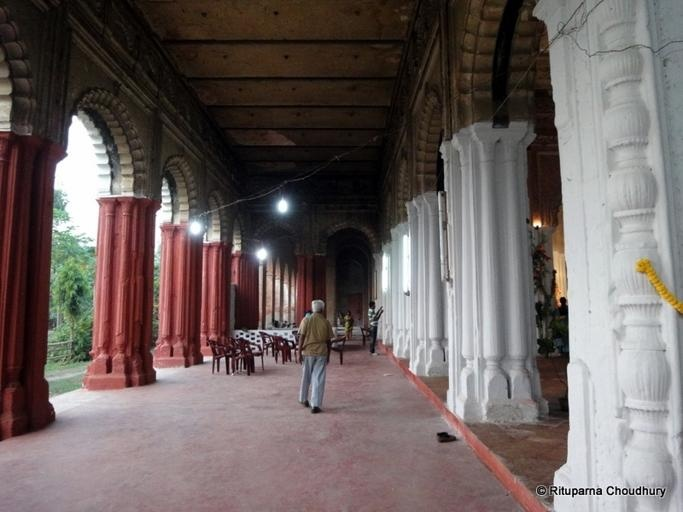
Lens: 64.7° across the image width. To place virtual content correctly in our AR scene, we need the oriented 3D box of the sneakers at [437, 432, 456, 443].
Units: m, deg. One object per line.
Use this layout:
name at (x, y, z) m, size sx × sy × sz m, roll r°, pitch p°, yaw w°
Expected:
sneakers at (1.294, 2.220, 6.622) m, size 0.245 × 0.083 × 0.213 m, roll -2°, pitch -3°, yaw 13°

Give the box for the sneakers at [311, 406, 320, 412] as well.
sneakers at (-0.385, 2.283, 8.012) m, size 0.127 × 0.059 × 0.052 m, roll 0°, pitch 5°, yaw -3°

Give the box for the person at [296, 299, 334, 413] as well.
person at (-0.406, 1.534, 8.478) m, size 0.525 × 1.654 × 0.897 m, roll -1°, pitch -2°, yaw -7°

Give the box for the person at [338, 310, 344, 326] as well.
person at (-0.094, 4.221, 36.618) m, size 0.442 × 0.905 × 0.464 m, roll 0°, pitch -8°, yaw -1°
